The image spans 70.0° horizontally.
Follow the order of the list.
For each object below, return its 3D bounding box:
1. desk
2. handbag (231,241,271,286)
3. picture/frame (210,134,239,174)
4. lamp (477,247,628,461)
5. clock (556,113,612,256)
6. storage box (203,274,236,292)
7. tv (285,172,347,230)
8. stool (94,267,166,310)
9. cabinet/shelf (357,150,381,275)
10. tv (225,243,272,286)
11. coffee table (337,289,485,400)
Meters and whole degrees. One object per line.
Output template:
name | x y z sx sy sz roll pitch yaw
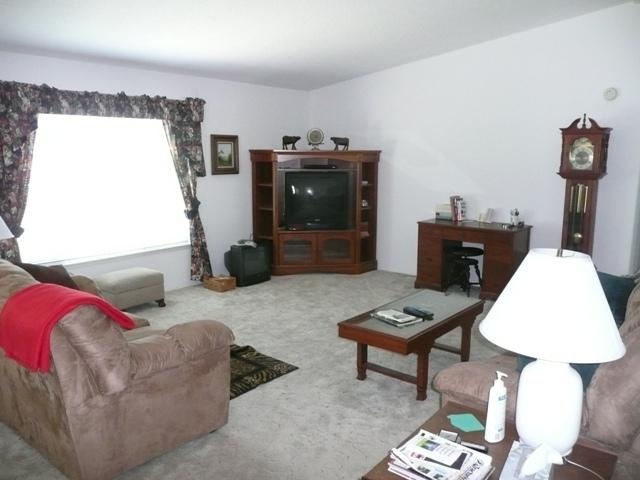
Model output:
desk | 1.929 0.253 5.983 1.246 0.859 0.530 7 9 34
handbag | -0.970 0.271 6.682 0.547 0.674 0.745 2 6 38
picture/frame | -1.393 -1.250 6.659 0.120 0.585 0.494 11 18 37
lamp | 1.000 0.509 2.022 0.460 0.901 0.418 -7 16 -23
clock | 2.910 -0.594 5.145 0.487 1.506 0.294 8 17 28
storage box | -1.318 0.542 6.227 0.321 0.124 0.224 2 4 33
tv | -0.083 -0.633 6.870 0.902 0.729 0.307 1 9 0
stool | -2.229 0.423 5.337 0.536 0.442 0.726 7 12 38
cabinet/shelf | 0.668 -0.452 7.121 0.514 1.806 0.355 -6 9 -37
tv | -1.049 0.317 6.622 0.621 0.536 0.556 4 10 29
coffee table | 0.864 0.884 4.037 0.658 0.553 1.361 7 12 42
